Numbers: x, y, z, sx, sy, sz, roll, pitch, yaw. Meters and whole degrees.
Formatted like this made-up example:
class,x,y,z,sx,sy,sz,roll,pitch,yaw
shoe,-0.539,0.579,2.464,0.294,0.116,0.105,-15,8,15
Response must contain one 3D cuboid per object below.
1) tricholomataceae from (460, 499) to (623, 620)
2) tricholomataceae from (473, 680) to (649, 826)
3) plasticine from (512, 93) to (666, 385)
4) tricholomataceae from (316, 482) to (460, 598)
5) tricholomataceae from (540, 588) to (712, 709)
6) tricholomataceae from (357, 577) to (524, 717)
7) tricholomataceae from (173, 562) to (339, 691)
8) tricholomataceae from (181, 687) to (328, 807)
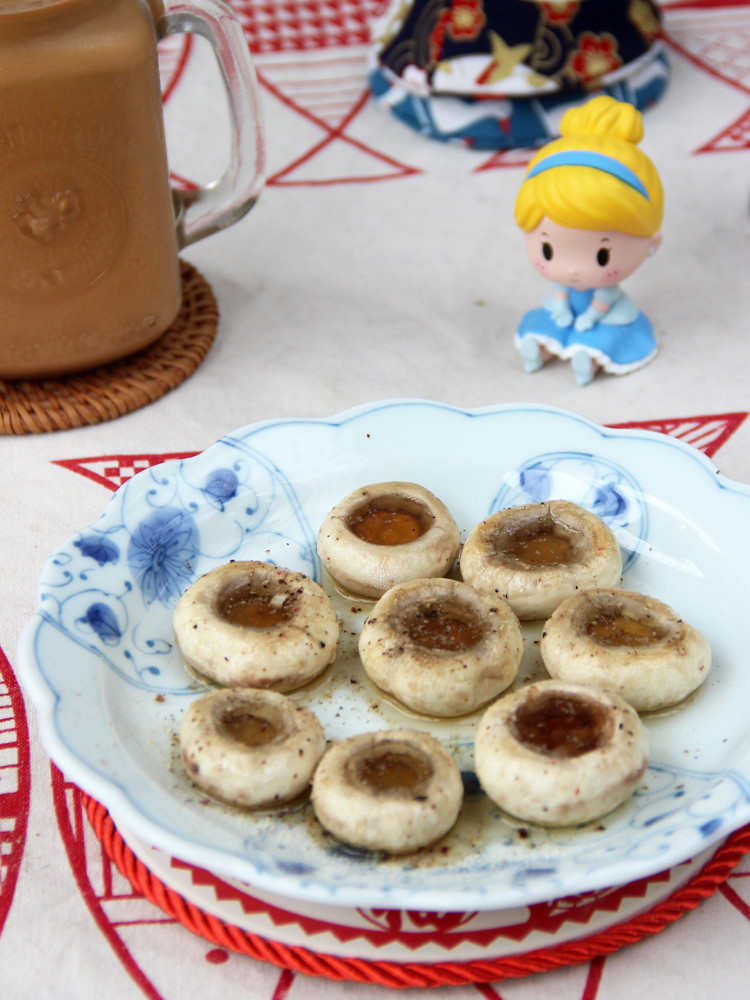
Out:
class,x,y,z,sx,sy,sz,roll,pitch,yaw
tricholomataceae,0.160,0.054,0.990,0.146,0.051,0.145,27,52,34
tricholomataceae,0.141,0.182,0.775,0.137,0.043,0.122,13,40,31
plasticine,0.259,-0.303,1.245,0.161,0.338,0.149,30,56,29
tricholomataceae,0.018,0.035,1.010,0.148,0.051,0.126,8,48,8
tricholomataceae,0.201,0.121,0.891,0.137,0.043,0.130,28,37,32
tricholomataceae,0.058,0.123,0.889,0.136,0.046,0.134,4,42,8
tricholomataceae,-0.109,0.104,0.914,0.154,0.047,0.129,11,43,-8
tricholomataceae,-0.091,0.182,0.768,0.090,0.032,0.088,23,29,16
